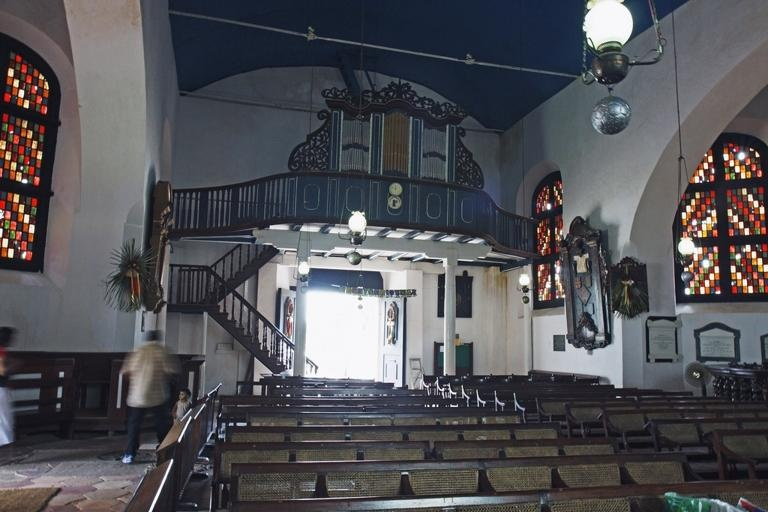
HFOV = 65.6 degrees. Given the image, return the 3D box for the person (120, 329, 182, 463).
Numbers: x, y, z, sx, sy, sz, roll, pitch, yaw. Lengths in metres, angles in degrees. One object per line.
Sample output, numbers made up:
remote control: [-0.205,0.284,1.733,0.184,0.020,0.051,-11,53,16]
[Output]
person: [-3.963,2.346,10.107,0.955,2.198,0.543,-2,-8,10]
